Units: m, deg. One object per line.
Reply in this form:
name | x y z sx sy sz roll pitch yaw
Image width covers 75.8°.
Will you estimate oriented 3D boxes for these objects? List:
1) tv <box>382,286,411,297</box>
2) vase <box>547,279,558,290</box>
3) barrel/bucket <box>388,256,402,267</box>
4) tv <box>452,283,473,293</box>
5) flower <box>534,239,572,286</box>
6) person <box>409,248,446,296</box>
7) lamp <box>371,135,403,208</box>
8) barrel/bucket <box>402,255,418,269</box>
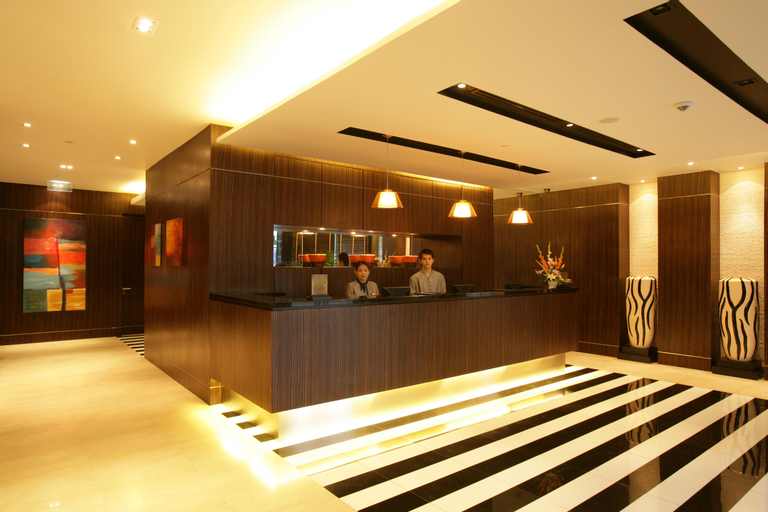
tv | 0.133 0.476 6.714 0.246 0.149 0.170 3 2 -17
vase | 2.859 0.482 8.361 0.159 0.167 0.160 -2 -4 23
barrel/bucket | 0.191 0.094 9.107 0.197 0.130 0.187 0 -5 0
tv | 1.152 0.486 7.248 0.287 0.128 0.547 1 7 9
flower | 2.955 0.214 8.672 0.539 0.719 0.571 5 1 38
person | 0.689 0.262 7.990 0.518 0.734 0.739 2 7 11
lamp | 0.040 -1.181 7.052 0.489 0.991 0.462 2 -4 -29
barrel/bucket | 0.480 0.115 9.166 0.236 0.146 0.224 0 3 0
